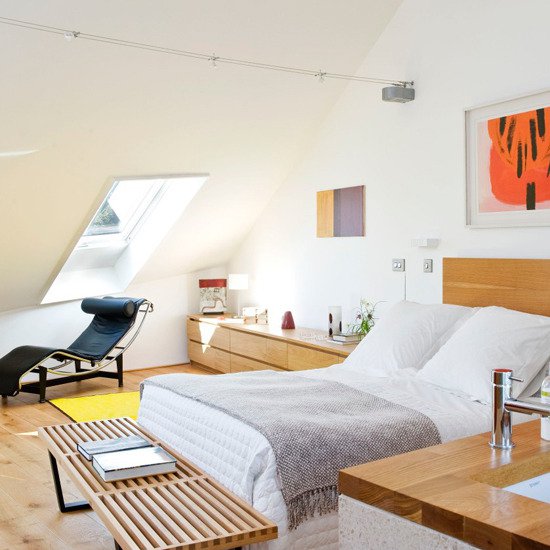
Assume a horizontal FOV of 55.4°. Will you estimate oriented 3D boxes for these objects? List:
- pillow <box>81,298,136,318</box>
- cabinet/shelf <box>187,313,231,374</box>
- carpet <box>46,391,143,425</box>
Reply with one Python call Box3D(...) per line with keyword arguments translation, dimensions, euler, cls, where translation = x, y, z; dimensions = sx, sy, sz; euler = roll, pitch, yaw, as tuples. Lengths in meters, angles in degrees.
Box3D(translation=(-1.694, 0.319, 5.280), dimensions=(0.691, 0.194, 0.206), euler=(1, -1, 41), cls="pillow")
Box3D(translation=(-0.719, 0.762, 5.782), dimensions=(0.235, 0.385, 0.702), euler=(-1, 2, -35), cls="cabinet/shelf")
Box3D(translation=(-1.483, 1.095, 4.285), dimensions=(0.483, 0.006, 0.547), euler=(-1, 4, -44), cls="carpet")
